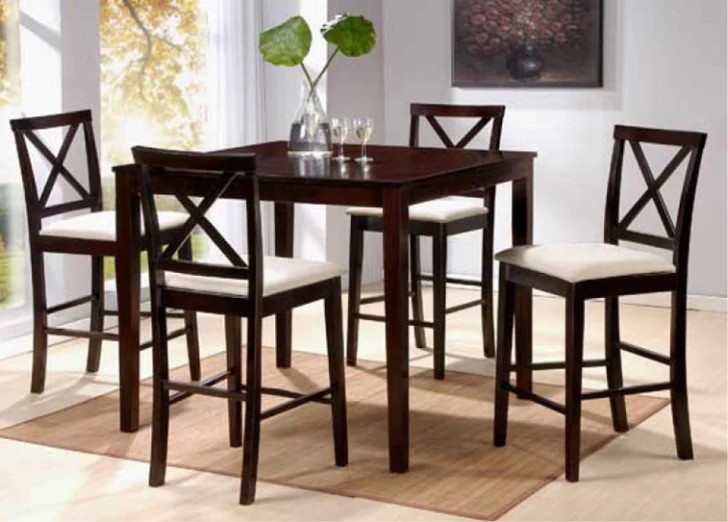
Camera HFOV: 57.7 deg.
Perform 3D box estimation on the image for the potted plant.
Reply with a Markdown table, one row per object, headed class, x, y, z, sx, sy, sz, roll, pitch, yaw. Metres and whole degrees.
| class | x | y | z | sx | sy | sz | roll | pitch | yaw |
| --- | --- | --- | --- | --- | --- | --- | --- | --- | --- |
| potted plant | -0.255 | -0.837 | 3.228 | 0.538 | 0.632 | 0.443 | 1 | -4 | 20 |
